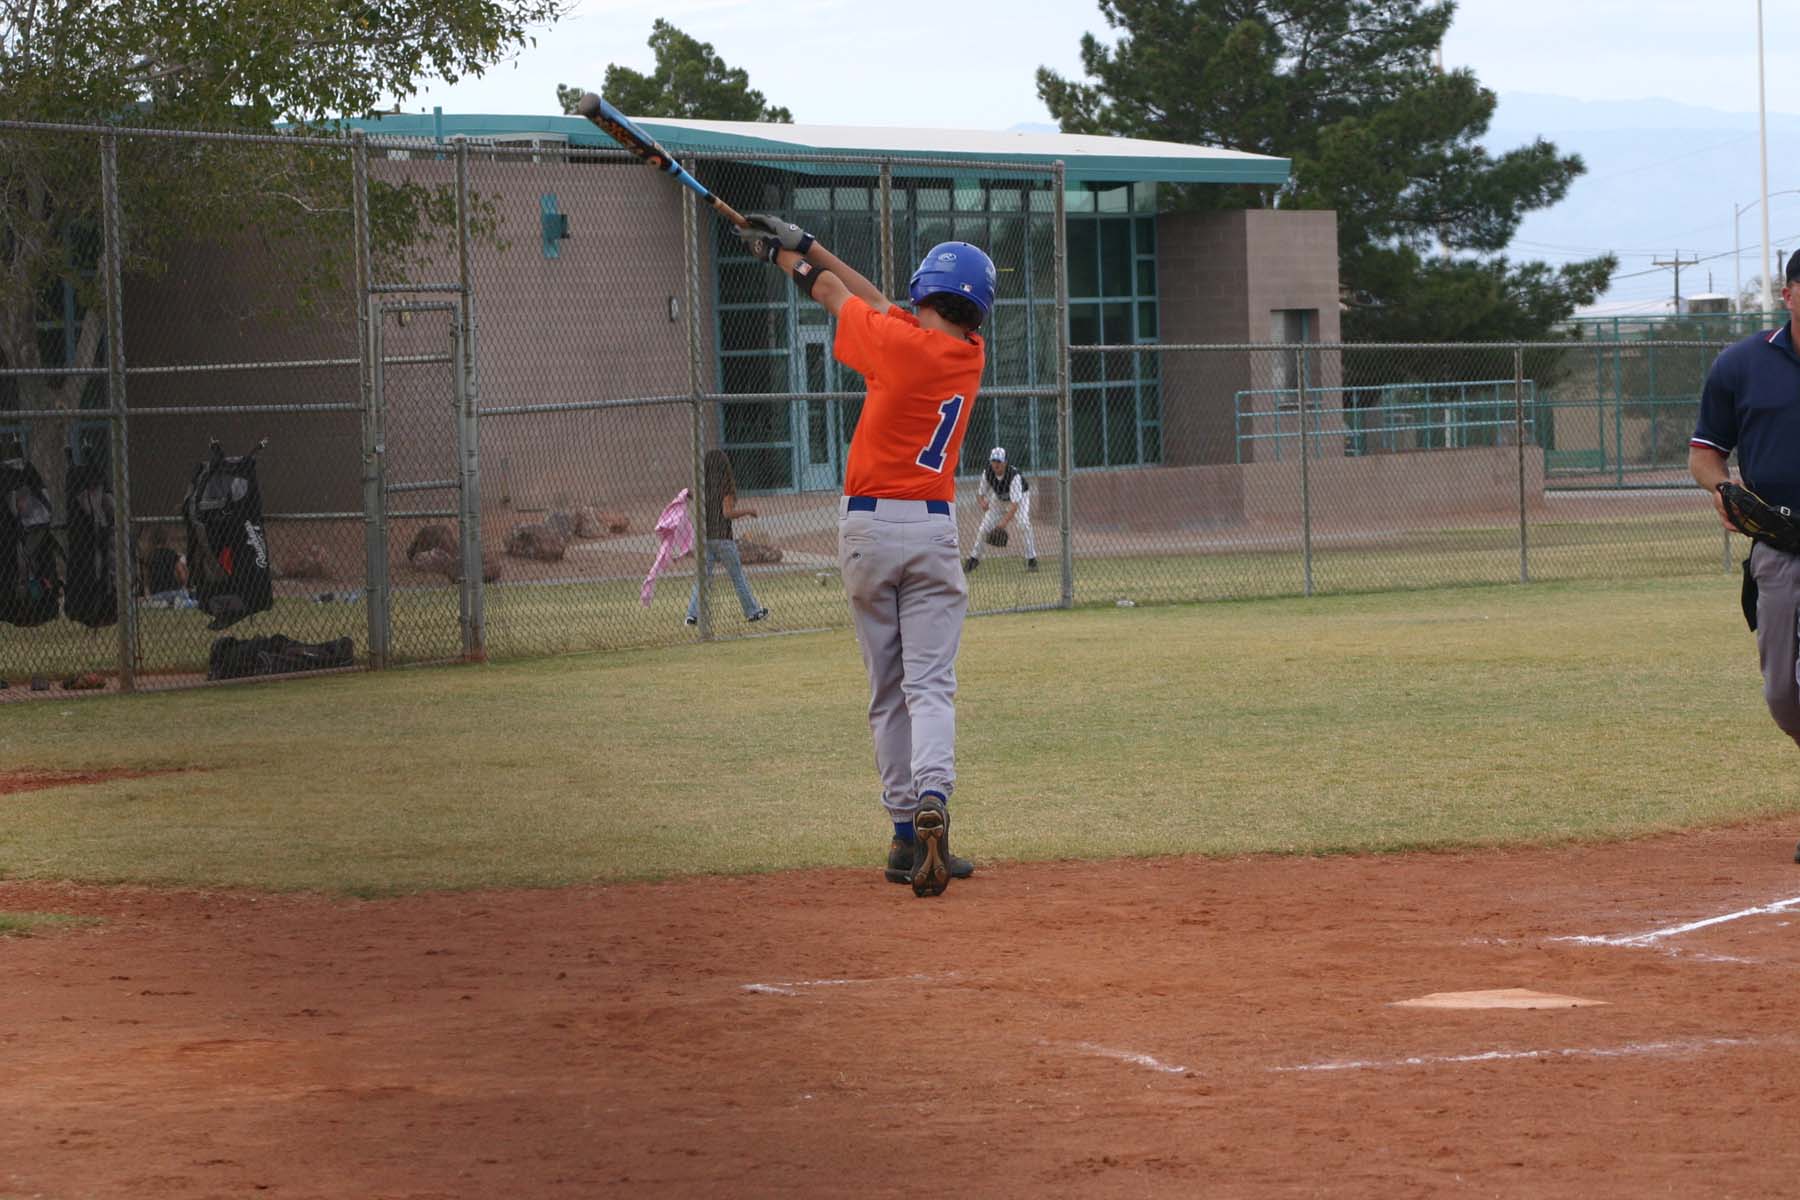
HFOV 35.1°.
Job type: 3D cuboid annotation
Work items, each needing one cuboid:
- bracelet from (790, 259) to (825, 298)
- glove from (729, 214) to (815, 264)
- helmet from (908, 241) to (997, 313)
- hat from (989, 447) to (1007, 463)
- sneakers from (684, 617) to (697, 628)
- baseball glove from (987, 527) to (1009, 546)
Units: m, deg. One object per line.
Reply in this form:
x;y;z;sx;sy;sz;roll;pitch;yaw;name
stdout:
-0.612;-2.114;18.727;0.195;0.176;0.233;-2;-3;-4;bracelet
-0.853;-2.424;18.958;0.491;0.262;0.178;27;13;28;glove
0.330;-2.117;18.642;0.404;0.409;0.529;9;17;-40;helmet
1.147;-1.707;33.314;0.206;0.164;0.320;0;-5;8;hat
-2.041;0.225;27.929;0.119;0.111;0.069;3;-3;10;sneakers
1.215;-0.776;35.336;0.282;0.275;0.181;-4;-8;42;baseball glove
